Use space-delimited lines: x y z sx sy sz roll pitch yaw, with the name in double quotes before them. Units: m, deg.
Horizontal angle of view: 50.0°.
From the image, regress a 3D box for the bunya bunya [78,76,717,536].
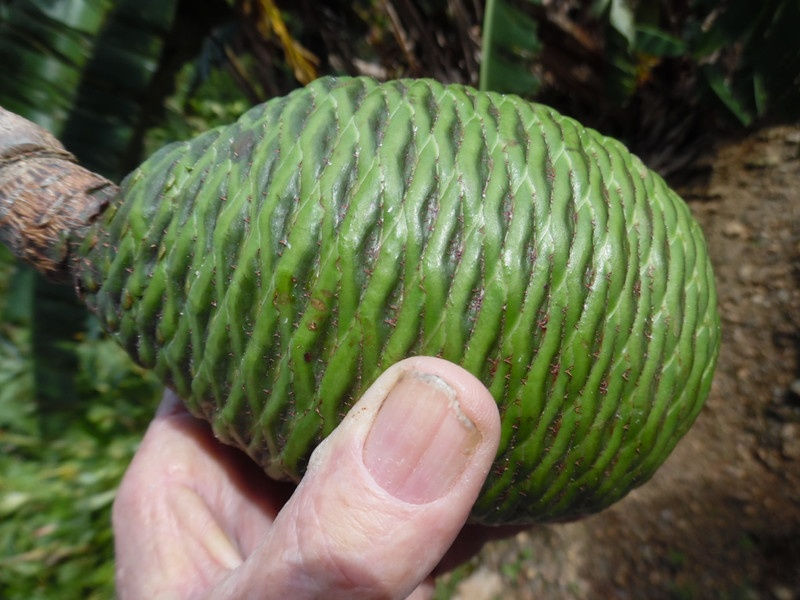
"bunya bunya" 0.066 0.114 2.539 1.421 1.019 1.056 1 75 7
